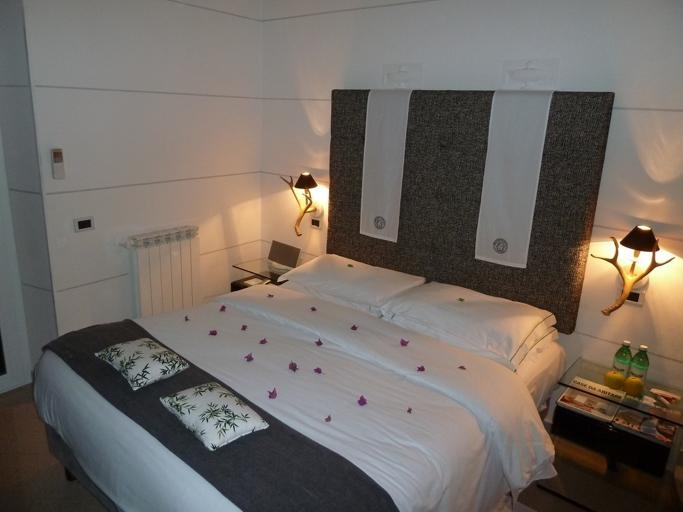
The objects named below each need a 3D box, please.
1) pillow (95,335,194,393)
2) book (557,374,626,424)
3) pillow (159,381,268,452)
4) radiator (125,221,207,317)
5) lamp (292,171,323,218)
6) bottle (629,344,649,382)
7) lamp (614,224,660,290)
[{"bbox_3d":[-1.129,0.596,2.799,0.375,0.113,0.266,19,26,40],"label":"pillow"},{"bbox_3d":[1.557,0.914,3.033,0.237,0.067,0.261,15,23,42],"label":"book"},{"bbox_3d":[-0.698,0.826,2.559,0.513,0.153,0.365,18,15,38],"label":"pillow"},{"bbox_3d":[-1.502,0.107,4.063,0.142,0.787,0.604,21,28,39],"label":"radiator"},{"bbox_3d":[-0.303,-0.535,4.373,0.230,0.390,0.219,4,6,27],"label":"lamp"},{"bbox_3d":[1.840,0.660,2.990,0.093,0.206,0.168,11,17,23],"label":"bottle"},{"bbox_3d":[1.865,-0.010,3.037,0.250,0.354,0.226,13,18,30],"label":"lamp"}]
